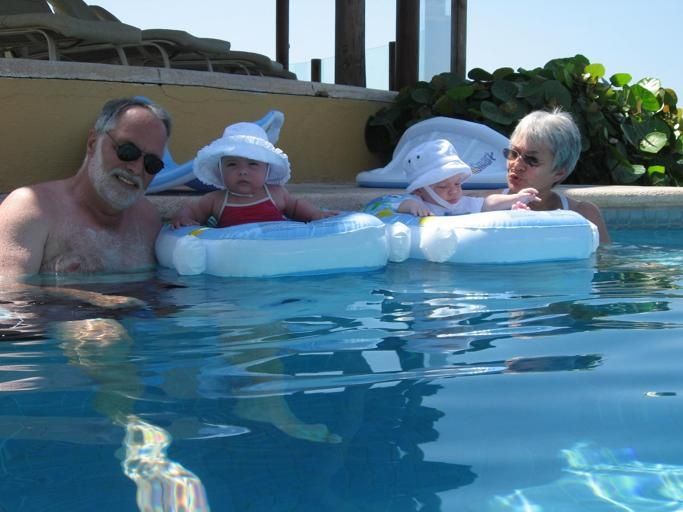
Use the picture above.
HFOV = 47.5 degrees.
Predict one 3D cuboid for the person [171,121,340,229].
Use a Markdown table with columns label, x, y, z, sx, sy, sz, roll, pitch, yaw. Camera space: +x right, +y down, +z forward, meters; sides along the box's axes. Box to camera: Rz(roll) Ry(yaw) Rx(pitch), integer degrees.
| label | x | y | z | sx | sy | sz | roll | pitch | yaw |
| --- | --- | --- | --- | --- | --- | --- | --- | --- | --- |
| person | -0.577 | -0.473 | 4.677 | 1.009 | 0.379 | 0.773 | -2 | 2 | -7 |

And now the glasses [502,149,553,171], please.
| label | x | y | z | sx | sy | sz | roll | pitch | yaw |
| --- | --- | --- | --- | --- | --- | --- | --- | --- | --- |
| glasses | 1.134 | -0.595 | 4.684 | 0.219 | 0.043 | 0.185 | 8 | 4 | -26 |

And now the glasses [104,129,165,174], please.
| label | x | y | z | sx | sy | sz | roll | pitch | yaw |
| --- | --- | --- | --- | --- | --- | --- | --- | --- | --- |
| glasses | -0.978 | -0.499 | 3.748 | 0.255 | 0.064 | 0.258 | 20 | -4 | -41 |

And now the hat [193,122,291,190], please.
| label | x | y | z | sx | sy | sz | roll | pitch | yaw |
| --- | --- | --- | --- | --- | --- | --- | --- | --- | --- |
| hat | -0.570 | -0.585 | 4.509 | 0.622 | 0.215 | 0.454 | 3 | -30 | -4 |

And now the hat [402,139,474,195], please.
| label | x | y | z | sx | sy | sz | roll | pitch | yaw |
| --- | --- | --- | --- | --- | --- | --- | --- | --- | --- |
| hat | 0.508 | -0.569 | 4.707 | 0.434 | 0.175 | 0.379 | -24 | -6 | 40 |
